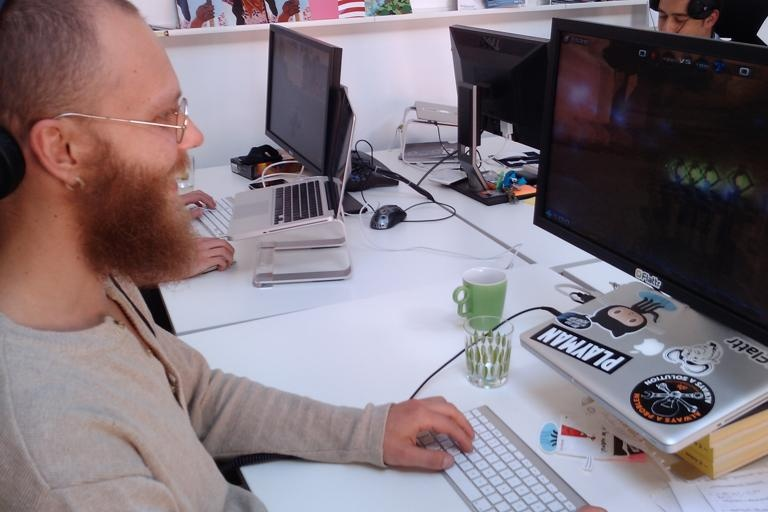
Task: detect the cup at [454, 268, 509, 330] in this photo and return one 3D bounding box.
[{"bbox_3d":[0.255,0.097,1.416,0.117,0.126,0.172,20,34,37],"label":"cup"}]

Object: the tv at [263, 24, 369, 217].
[{"bbox_3d":[-0.296,-0.548,2.135,0.284,0.791,0.880,-11,30,-21],"label":"tv"}]

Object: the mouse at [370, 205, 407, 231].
[{"bbox_3d":[0.005,-0.139,1.938,0.075,0.044,0.125,13,27,28],"label":"mouse"}]

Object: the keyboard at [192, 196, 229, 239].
[{"bbox_3d":[-0.661,-0.140,2.005,0.078,0.010,0.222,-14,33,-19],"label":"keyboard"}]

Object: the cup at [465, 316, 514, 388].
[{"bbox_3d":[0.218,0.235,1.287,0.136,0.156,0.141,-2,23,1],"label":"cup"}]

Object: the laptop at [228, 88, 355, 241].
[{"bbox_3d":[-0.270,-0.299,1.799,0.450,0.490,0.594,-1,20,1],"label":"laptop"}]
